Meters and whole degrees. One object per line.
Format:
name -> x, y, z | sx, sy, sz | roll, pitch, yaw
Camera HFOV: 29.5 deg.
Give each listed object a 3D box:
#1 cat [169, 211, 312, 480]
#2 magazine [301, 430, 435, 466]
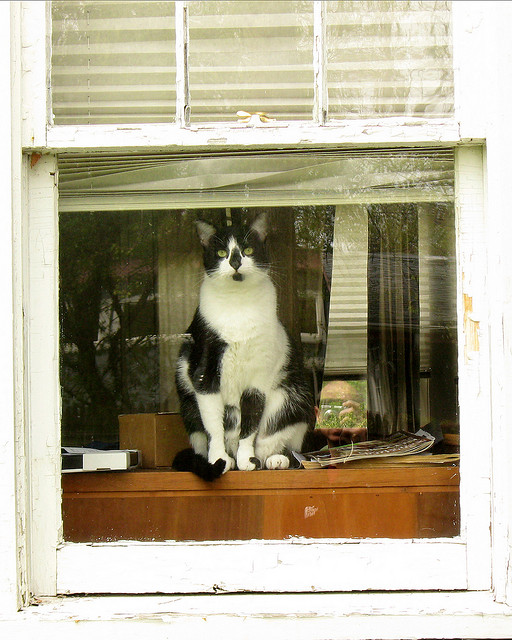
cat -> -0.038, 0.099, 2.587 | 0.337, 0.749, 0.572 | -2, -20, 1
magazine -> 0.280, 0.299, 2.324 | 0.249, 0.027, 0.213 | -2, 12, -11
